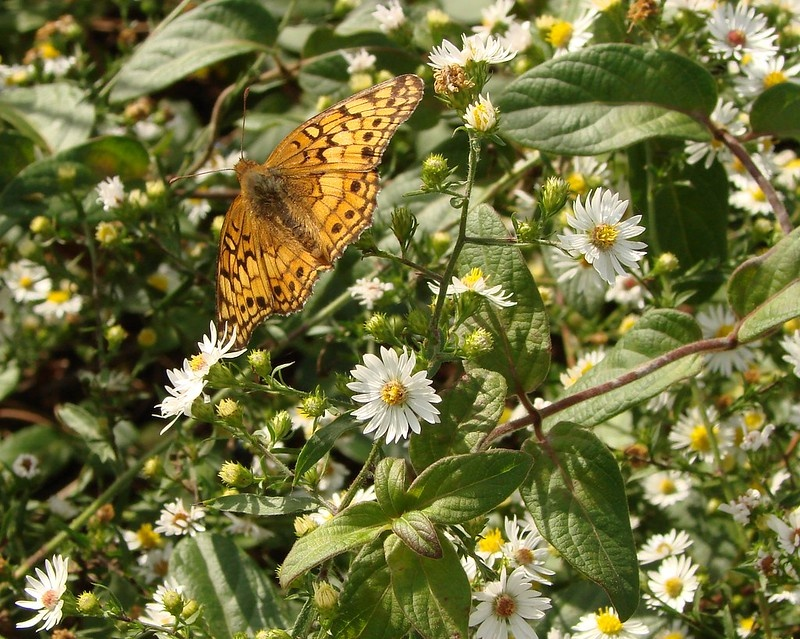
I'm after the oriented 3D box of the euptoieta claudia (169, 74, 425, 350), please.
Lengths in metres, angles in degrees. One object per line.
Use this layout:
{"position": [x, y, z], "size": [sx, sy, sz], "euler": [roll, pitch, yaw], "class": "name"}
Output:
{"position": [-0.342, -0.336, 2.822], "size": [0.506, 1.001, 0.236], "euler": [37, 16, -4], "class": "euptoieta claudia"}
